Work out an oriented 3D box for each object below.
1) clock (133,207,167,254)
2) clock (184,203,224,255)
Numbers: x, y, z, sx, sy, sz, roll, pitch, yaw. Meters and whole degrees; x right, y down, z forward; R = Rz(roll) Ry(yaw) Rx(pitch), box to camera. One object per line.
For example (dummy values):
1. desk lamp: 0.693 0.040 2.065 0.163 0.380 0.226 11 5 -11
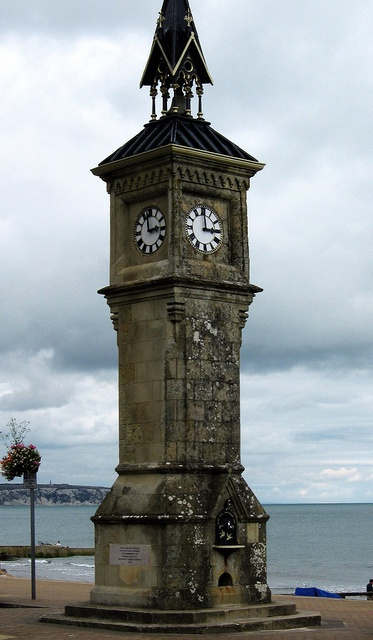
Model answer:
1. clock: -0.728 -2.024 34.213 0.116 1.079 1.023 12 -5 -32
2. clock: 0.488 -2.049 34.269 0.177 1.090 1.370 -9 -9 32
